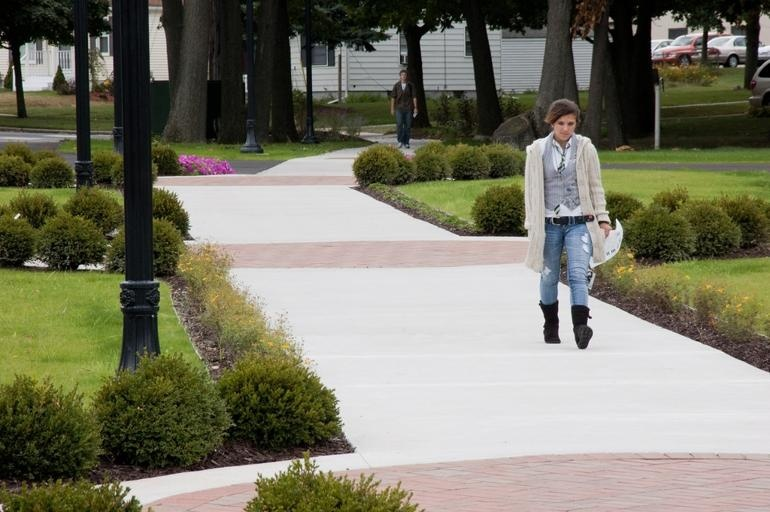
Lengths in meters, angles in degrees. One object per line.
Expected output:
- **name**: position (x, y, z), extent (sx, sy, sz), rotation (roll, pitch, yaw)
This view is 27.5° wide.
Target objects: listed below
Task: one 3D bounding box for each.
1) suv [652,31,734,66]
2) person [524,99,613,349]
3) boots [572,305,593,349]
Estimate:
- **suv**: position (15.948, -10.965, 83.846), extent (3.053, 1.495, 5.134), rotation (3, 9, 31)
- **person**: position (2.683, -0.473, 23.403), extent (1.210, 3.635, 0.639), rotation (-1, 7, 5)
- **boots**: position (2.902, 1.050, 23.374), extent (0.295, 0.632, 0.396), rotation (-1, 7, 7)
